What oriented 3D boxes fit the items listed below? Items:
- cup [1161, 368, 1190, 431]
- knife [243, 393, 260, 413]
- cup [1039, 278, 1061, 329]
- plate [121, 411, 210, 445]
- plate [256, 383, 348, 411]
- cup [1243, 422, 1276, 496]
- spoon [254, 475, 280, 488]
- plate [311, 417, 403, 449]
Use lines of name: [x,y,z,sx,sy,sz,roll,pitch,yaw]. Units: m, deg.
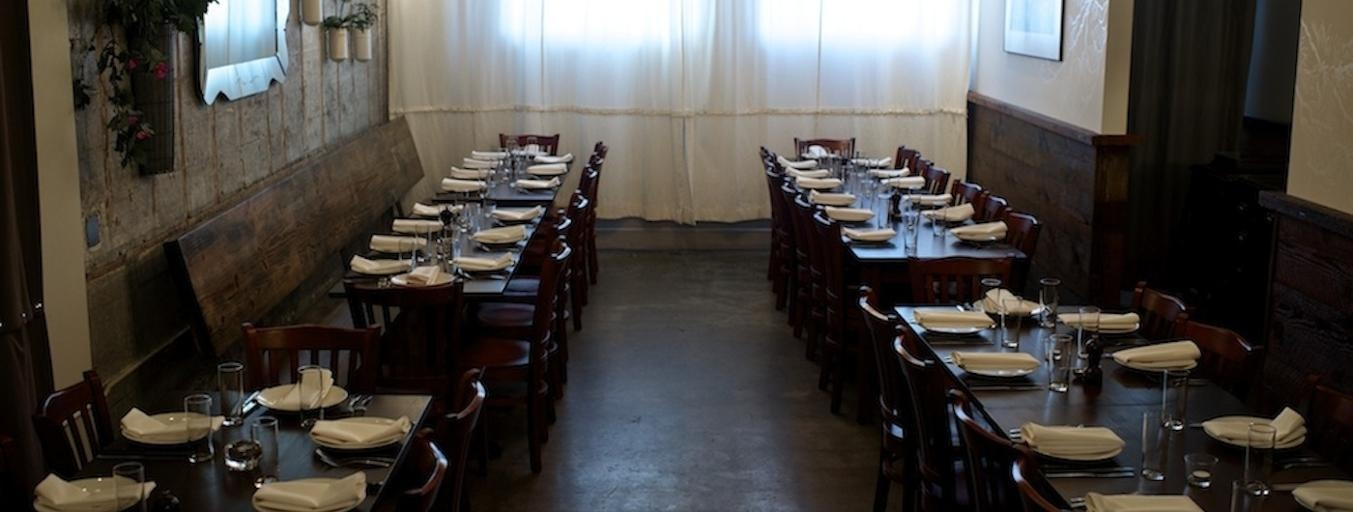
cup: [4.459,1.333,7.029,0.212,0.462,0.226,11,-11,2]
knife: [-3.877,1.357,7.225,0.150,0.058,0.175,12,58,27]
cup: [3.685,0.462,7.869,0.247,0.405,0.211,4,-4,0]
plate: [-4.448,1.517,6.883,0.594,0.137,0.377,5,3,-6]
plate: [-3.441,1.304,7.141,0.442,0.061,0.398,-2,11,-22]
cup: [4.880,1.712,6.547,0.204,0.533,0.347,7,21,33]
spoon: [-3.496,1.920,6.669,0.113,0.037,0.118,1,4,-4]
plate: [-2.787,1.557,6.898,0.514,0.110,0.351,0,19,0]
